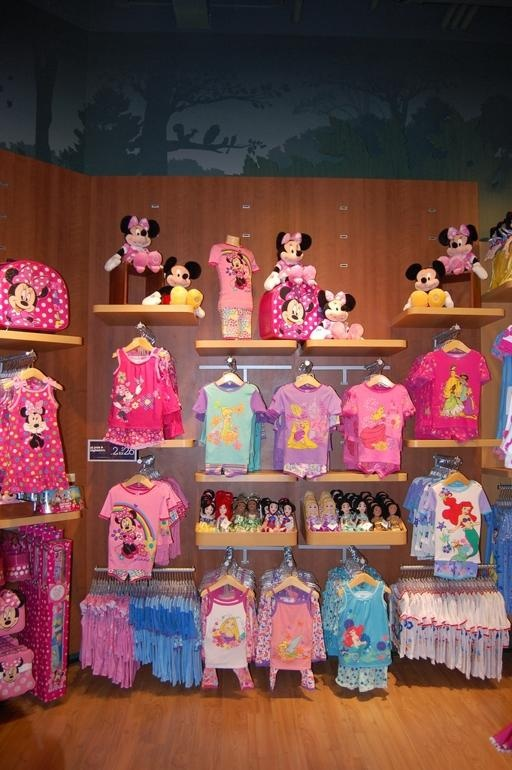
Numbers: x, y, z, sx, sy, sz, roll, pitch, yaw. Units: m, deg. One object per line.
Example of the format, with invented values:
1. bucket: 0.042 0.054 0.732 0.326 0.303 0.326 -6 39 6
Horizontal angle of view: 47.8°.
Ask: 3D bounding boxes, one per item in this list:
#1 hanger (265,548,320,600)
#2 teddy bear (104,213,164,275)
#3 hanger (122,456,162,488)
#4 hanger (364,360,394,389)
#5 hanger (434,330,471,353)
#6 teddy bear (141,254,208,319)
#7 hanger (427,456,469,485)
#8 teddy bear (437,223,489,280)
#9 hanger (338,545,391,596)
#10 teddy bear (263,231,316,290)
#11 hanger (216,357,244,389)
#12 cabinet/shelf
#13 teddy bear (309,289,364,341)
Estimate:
1. hanger: 0.188 1.102 3.325 0.318 0.204 0.322 -2 4 0
2. teddy bear: -0.730 -0.862 3.557 0.355 0.377 0.224 1 5 -29
3. hanger: -0.693 0.534 3.519 0.186 0.170 0.070 1 -19 5
4. hanger: 0.762 -0.061 3.584 0.112 0.180 0.315 0 0 1
5. hanger: 1.202 -0.260 3.560 0.136 0.115 0.197 0 2 -1
6. teddy bear: -0.480 -0.609 3.581 0.395 0.411 0.245 7 -8 -17
7. hanger: 1.149 0.502 3.491 0.162 0.087 0.211 2 2 40
8. teddy bear: 1.323 -0.851 3.728 0.367 0.432 0.261 4 18 35
9. hanger: 0.616 1.069 3.419 0.265 0.117 0.368 1 8 3
10. teddy bear: 0.225 -0.773 3.595 0.302 0.394 0.232 3 4 -27
11. hanger: -0.158 -0.074 3.570 0.178 0.195 0.095 2 5 5
12. cabinet/shelf: -0.153 0.327 3.498 2.696 1.624 0.855 -3 4 -12
13. teddy bear: 0.502 -0.406 3.540 0.304 0.355 0.231 -1 4 -16
